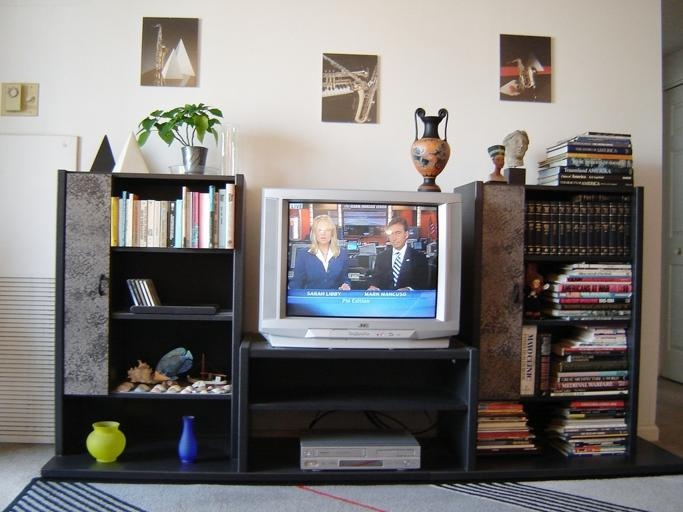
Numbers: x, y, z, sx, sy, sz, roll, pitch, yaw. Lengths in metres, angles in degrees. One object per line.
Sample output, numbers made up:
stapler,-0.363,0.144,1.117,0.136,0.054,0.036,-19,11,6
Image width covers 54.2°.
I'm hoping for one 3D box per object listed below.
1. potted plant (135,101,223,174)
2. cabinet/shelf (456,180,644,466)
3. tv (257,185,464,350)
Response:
potted plant,-0.918,-0.689,3.847,0.502,0.415,0.373,-1,8,-16
cabinet/shelf,1.193,0.352,3.868,1.008,1.551,0.341,1,8,-4
tv,-0.001,0.054,3.928,1.207,0.865,0.647,0,1,-25
